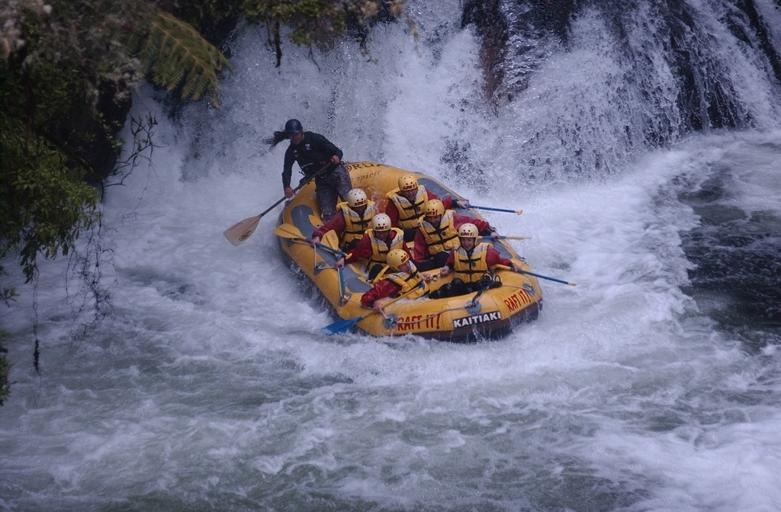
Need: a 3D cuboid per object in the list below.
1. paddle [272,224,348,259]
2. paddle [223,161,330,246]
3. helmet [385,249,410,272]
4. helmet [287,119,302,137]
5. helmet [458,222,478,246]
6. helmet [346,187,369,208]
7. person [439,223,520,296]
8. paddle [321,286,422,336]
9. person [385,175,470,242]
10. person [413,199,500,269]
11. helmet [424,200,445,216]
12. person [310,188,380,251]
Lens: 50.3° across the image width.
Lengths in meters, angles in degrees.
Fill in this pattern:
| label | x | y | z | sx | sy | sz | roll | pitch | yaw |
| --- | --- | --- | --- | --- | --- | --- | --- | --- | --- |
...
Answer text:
| label | x | y | z | sx | sy | sz | roll | pitch | yaw |
| --- | --- | --- | --- | --- | --- | --- | --- | --- | --- |
| paddle | -1.590 | -0.314 | 15.182 | 1.880 | 0.501 | 0.104 | 25 | -11 | 35 |
| paddle | -2.222 | -0.979 | 16.238 | 2.942 | 0.402 | 0.153 | -36 | 6 | -19 |
| helmet | 0.152 | 0.024 | 14.259 | 0.411 | 0.378 | 0.314 | 9 | 41 | 32 |
| helmet | -1.852 | -2.464 | 15.876 | 0.299 | 0.307 | 0.280 | 0 | 11 | -13 |
| helmet | 1.374 | -0.384 | 14.157 | 0.310 | 0.361 | 0.392 | -6 | 16 | 12 |
| helmet | -0.625 | -1.082 | 15.213 | 0.292 | 0.291 | 0.390 | -23 | 17 | -26 |
| person | 1.395 | 0.016 | 14.634 | 1.372 | 0.558 | 1.276 | -14 | 25 | 4 |
| paddle | -0.243 | 0.937 | 14.053 | 1.603 | 0.220 | 0.136 | -26 | -16 | -1 |
| person | 0.620 | -0.842 | 15.264 | 1.086 | 1.106 | 0.358 | -26 | 37 | -5 |
| person | 0.912 | -0.386 | 15.193 | 1.356 | 0.581 | 1.319 | -18 | 11 | 2 |
| helmet | 0.789 | -0.868 | 14.779 | 0.270 | 0.272 | 0.363 | -3 | -19 | 7 |
| person | -0.853 | -0.634 | 15.283 | 1.245 | 1.174 | 0.367 | 1 | 11 | -39 |
